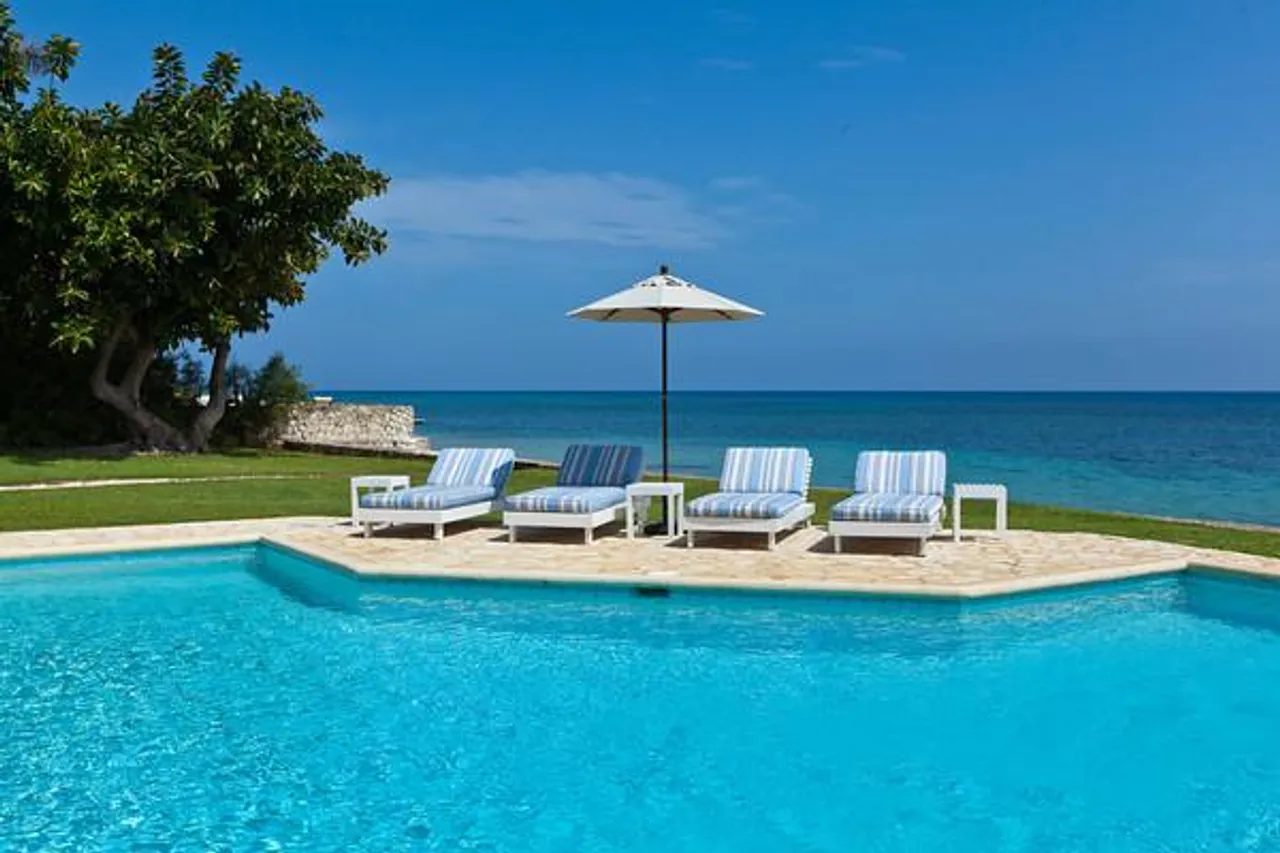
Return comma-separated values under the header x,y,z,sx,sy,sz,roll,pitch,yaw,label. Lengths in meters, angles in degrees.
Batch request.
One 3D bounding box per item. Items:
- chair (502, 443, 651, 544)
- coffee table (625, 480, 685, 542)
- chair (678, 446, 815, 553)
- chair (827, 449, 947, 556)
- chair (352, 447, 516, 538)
x,y,z,sx,sy,sz,roll,pitch,yaw,label
-0.877,0.886,13.260,1.302,0.775,1.822,6,15,18,chair
0.175,1.133,13.186,1.126,0.705,0.872,0,1,10,coffee table
1.543,0.893,12.848,1.428,0.768,1.876,2,14,20,chair
3.370,0.925,12.540,1.360,0.777,1.708,0,15,20,chair
-2.924,0.873,13.437,1.577,0.703,2.049,6,11,26,chair
